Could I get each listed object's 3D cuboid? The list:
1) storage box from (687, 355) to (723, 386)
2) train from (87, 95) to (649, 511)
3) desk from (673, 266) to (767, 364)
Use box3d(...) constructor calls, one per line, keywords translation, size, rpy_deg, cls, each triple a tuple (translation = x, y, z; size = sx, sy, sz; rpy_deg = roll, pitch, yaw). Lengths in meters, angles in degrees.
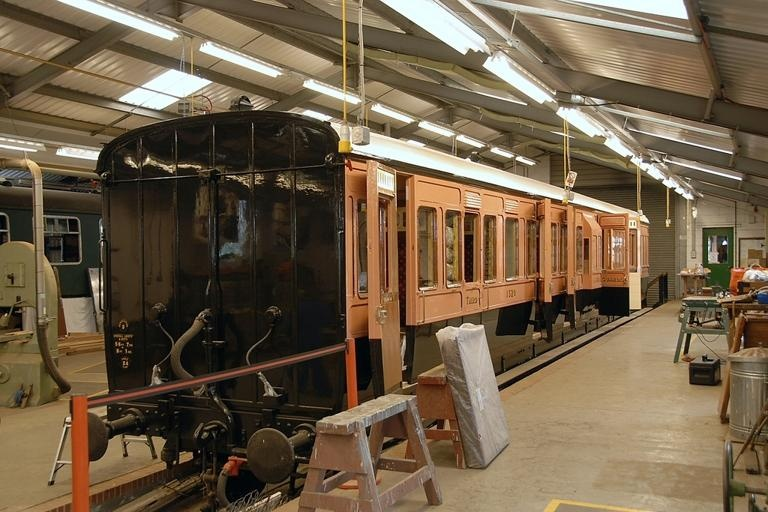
box3d(translation=(5.946, 2.102, 11.995), size=(0.537, 0.499, 0.537), rpy_deg=(2, 5, 32), cls="storage box")
box3d(translation=(0.491, 0.231, 13.095), size=(4.049, 3.448, 10.979), rpy_deg=(-2, 0, 28), cls="train")
box3d(translation=(7.591, 1.302, 14.694), size=(1.869, 1.739, 1.435), rpy_deg=(0, 6, 25), cls="desk")
